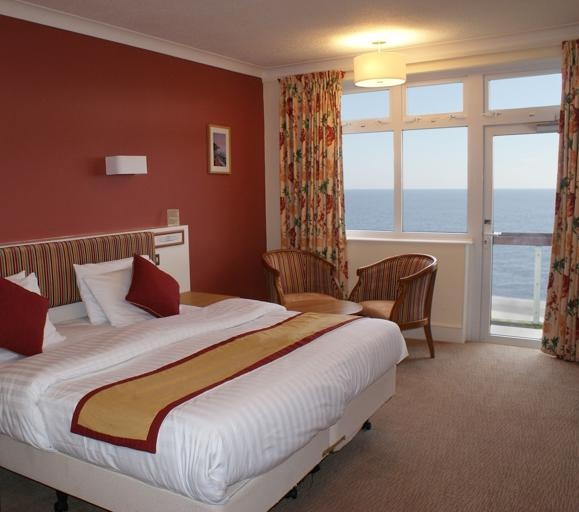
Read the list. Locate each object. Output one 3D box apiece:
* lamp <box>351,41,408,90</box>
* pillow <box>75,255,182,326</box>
[{"bbox_3d":[0.905,-1.886,4.851,0.527,0.451,0.555,-1,-1,3],"label":"lamp"},{"bbox_3d":[-1.325,0.299,3.912,0.625,0.201,0.642,-5,43,-32],"label":"pillow"}]
